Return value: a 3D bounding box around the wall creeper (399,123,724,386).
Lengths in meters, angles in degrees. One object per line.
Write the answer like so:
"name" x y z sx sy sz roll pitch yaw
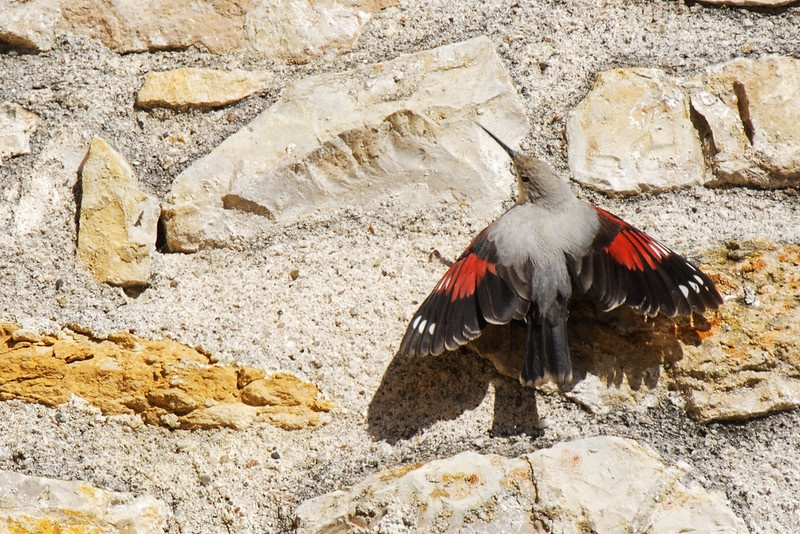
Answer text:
"wall creeper" 0.607 -0.001 9.535 1.363 0.537 1.126 -15 60 -2
